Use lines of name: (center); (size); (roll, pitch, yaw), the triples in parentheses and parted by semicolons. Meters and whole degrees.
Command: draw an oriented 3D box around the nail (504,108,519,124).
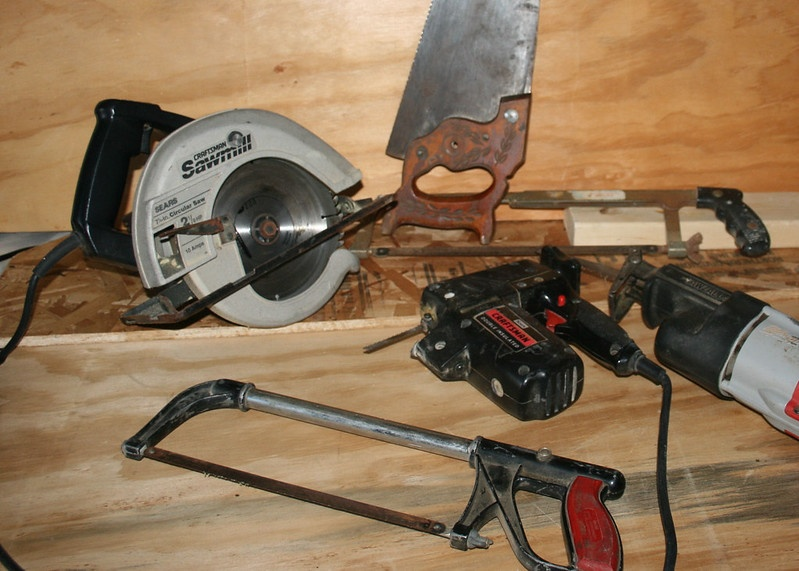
nail: (0.321, -0.487, 1.971); (0.049, 0.030, 0.016); (5, 20, 5)
